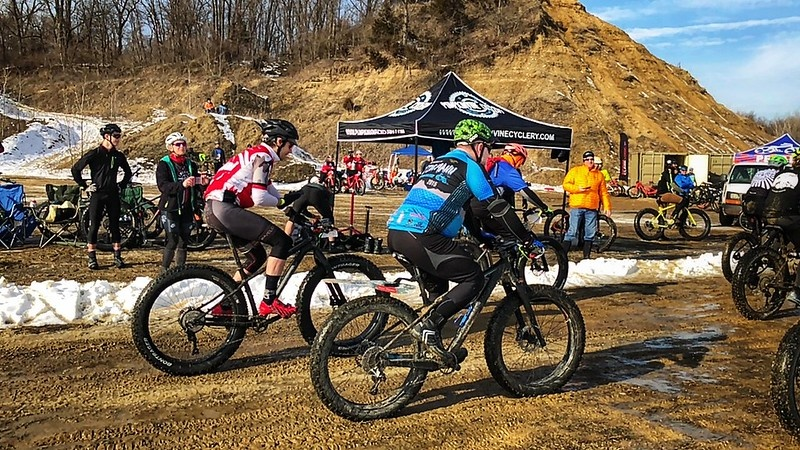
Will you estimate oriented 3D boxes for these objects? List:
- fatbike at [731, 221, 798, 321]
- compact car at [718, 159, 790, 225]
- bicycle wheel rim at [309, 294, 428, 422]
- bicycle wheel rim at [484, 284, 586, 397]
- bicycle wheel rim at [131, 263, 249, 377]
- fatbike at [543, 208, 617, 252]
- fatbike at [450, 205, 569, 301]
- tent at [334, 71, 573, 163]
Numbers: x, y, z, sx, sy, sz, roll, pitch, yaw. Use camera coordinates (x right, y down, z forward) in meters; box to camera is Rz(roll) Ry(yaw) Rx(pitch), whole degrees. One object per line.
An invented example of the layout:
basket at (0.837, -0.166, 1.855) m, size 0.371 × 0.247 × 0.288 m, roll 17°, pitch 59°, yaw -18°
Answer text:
fatbike at (7.107, 0.949, 11.569) m, size 1.662 × 1.617 × 0.502 m, roll 10°, pitch 10°, yaw -28°
compact car at (12.979, -1.352, 22.724) m, size 2.859 × 2.573 × 5.197 m, roll 1°, pitch 1°, yaw 28°
bicycle wheel rim at (-0.439, 2.050, 8.806) m, size 1.736 × 1.674 × 0.725 m, roll 5°, pitch -5°, yaw -4°
bicycle wheel rim at (2.063, 1.849, 9.164) m, size 1.705 × 1.644 × 0.438 m, roll -2°, pitch 11°, yaw -24°
bicycle wheel rim at (-3.302, 1.576, 9.436) m, size 1.776 × 1.715 × 0.540 m, roll 1°, pitch 4°, yaw -4°
fatbike at (4.784, 0.165, 15.966) m, size 1.833 × 1.088 × 0.935 m, roll 11°, pitch 4°, yaw 6°
fatbike at (2.622, 0.589, 12.798) m, size 3.096 × 1.842 × 1.580 m, roll -6°, pitch 2°, yaw -6°
tent at (1.627, -3.620, 20.572) m, size 4.790 × 2.165 × 4.843 m, roll 9°, pitch 8°, yaw 37°
